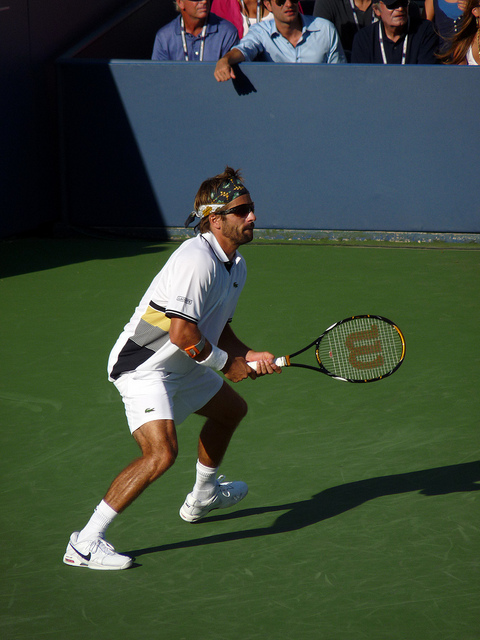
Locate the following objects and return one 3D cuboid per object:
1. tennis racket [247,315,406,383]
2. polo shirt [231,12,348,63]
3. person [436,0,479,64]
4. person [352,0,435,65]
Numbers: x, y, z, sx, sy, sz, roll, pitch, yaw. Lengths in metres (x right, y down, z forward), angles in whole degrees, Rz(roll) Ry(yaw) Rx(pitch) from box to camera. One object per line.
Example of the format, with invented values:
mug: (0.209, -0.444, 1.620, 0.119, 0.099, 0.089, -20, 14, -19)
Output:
tennis racket: (0.304, 0.203, 3.562, 0.058, 0.320, 1.229, -5, -7, -45)
polo shirt: (0.516, -3.006, 7.599, 1.452, 0.658, 0.492, -2, 43, -3)
person: (2.276, -3.013, 7.400, 0.370, 0.611, 0.857, -16, 18, 3)
person: (1.589, -3.011, 7.394, 0.887, 0.718, 0.520, -8, 21, 20)
